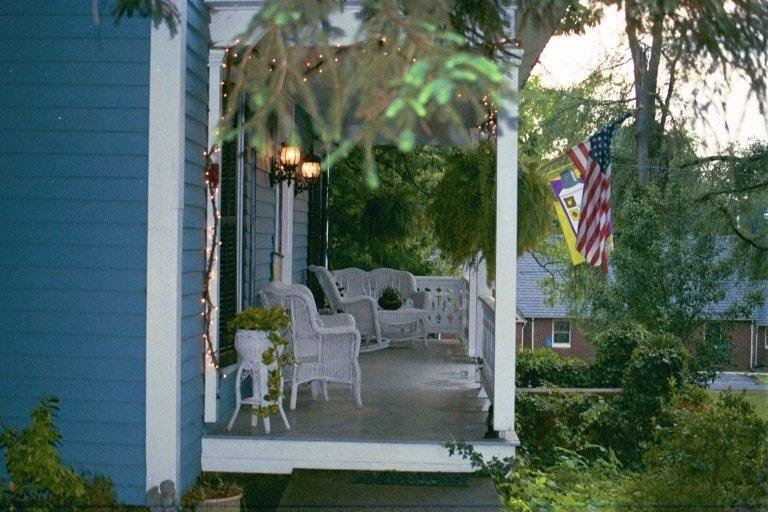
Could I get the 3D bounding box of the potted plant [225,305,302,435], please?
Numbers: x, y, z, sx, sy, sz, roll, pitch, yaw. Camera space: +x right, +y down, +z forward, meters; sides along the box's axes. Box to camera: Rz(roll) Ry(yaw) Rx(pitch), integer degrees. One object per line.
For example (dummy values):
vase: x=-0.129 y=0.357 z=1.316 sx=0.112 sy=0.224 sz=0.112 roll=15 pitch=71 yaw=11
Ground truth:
potted plant: x=-1.087 y=0.982 z=7.738 sx=0.578 sy=1.095 sz=0.649 roll=-2 pitch=-4 yaw=-7

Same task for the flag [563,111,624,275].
flag: x=2.435 y=-0.619 z=10.056 sx=0.404 sy=1.598 sz=0.862 roll=-1 pitch=-4 yaw=-20

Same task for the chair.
chair: x=-0.352 y=0.768 z=8.714 sx=1.497 sy=1.357 sz=1.193 roll=-1 pitch=-5 yaw=5
